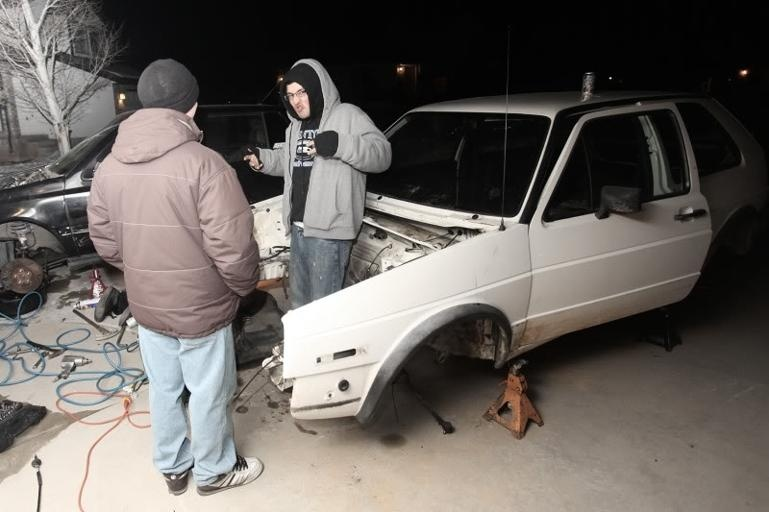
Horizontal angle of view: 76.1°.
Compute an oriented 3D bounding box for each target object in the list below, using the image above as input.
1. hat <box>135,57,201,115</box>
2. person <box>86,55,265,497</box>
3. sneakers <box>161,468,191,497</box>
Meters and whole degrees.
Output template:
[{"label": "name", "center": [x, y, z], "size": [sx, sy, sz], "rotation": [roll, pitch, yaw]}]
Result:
[{"label": "hat", "center": [-1.352, -1.031, 3.129], "size": [0.345, 0.230, 0.348], "rotation": [29, 56, 31]}, {"label": "person", "center": [-1.303, 0.376, 3.282], "size": [0.943, 2.558, 0.790], "rotation": [-6, 25, -15]}, {"label": "sneakers", "center": [-1.481, 1.602, 3.495], "size": [0.148, 0.145, 0.182], "rotation": [0, -1, 5]}]
